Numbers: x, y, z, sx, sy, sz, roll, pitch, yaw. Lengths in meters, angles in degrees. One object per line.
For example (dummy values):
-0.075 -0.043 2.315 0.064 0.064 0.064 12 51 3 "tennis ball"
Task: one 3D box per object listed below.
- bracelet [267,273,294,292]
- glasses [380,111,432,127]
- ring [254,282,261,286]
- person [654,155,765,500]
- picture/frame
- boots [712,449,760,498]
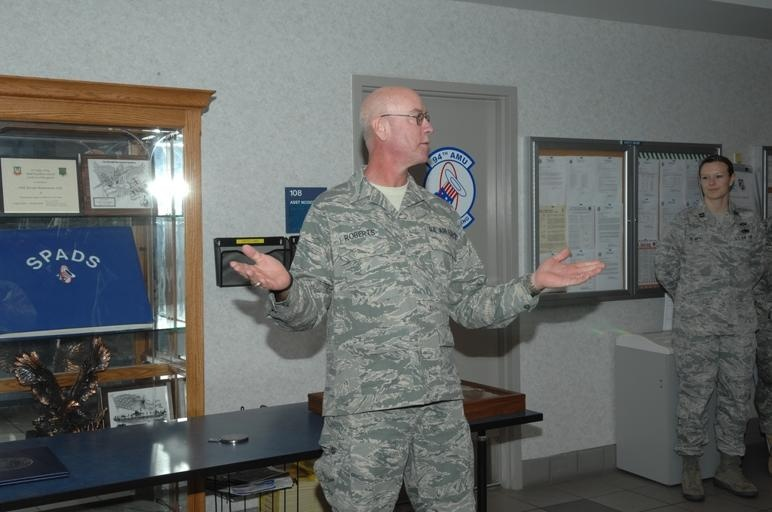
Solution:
-0.400 0.104 2.267 0.098 0.078 0.056 -1 6 -14 "bracelet"
0.091 -0.587 2.515 0.120 0.027 0.105 0 2 17 "glasses"
-0.484 0.107 2.257 0.019 0.008 0.023 0 11 -5 "ring"
2.327 0.468 4.188 0.687 2.341 0.458 -1 6 -14 "person"
-1.393 -0.383 3.138 0.471 0.319 0.050 4 7 19 "picture/frame"
2.434 1.535 4.144 0.144 0.223 0.358 4 -2 -10 "boots"
